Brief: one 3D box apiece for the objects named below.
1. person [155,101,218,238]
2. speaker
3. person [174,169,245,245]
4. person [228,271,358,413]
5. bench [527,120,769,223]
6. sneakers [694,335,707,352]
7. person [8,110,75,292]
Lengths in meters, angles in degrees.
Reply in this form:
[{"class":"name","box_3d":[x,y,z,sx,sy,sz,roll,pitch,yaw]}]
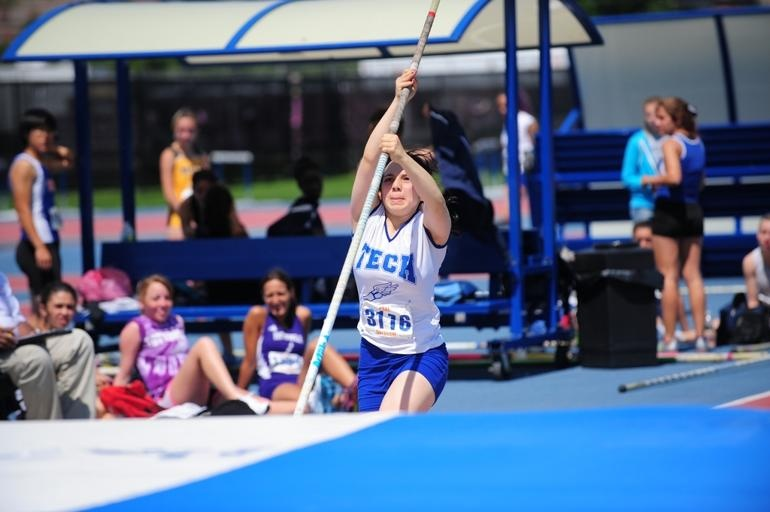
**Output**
[{"class":"person","box_3d":[-2.526,-1.028,20.034,0.641,1.630,0.481,-3,-2,35]},{"class":"speaker","box_3d":[2.798,0.636,19.855,1.282,1.438,1.243,-6,-7,29]},{"class":"person","box_3d":[-2.177,-0.615,20.029,0.687,0.891,0.413,-2,12,6]},{"class":"person","box_3d":[-1.129,0.990,18.544,1.188,1.626,1.409,-4,-4,-42]},{"class":"bench","box_3d":[3.720,-0.933,21.949,3.803,1.602,1.247,0,-43,4]},{"class":"sneakers","box_3d":[3.874,1.063,19.953,0.163,0.213,0.164,7,-24,3]},{"class":"person","box_3d":[-4.195,-0.645,19.500,0.576,2.229,0.908,-3,-1,7]}]
